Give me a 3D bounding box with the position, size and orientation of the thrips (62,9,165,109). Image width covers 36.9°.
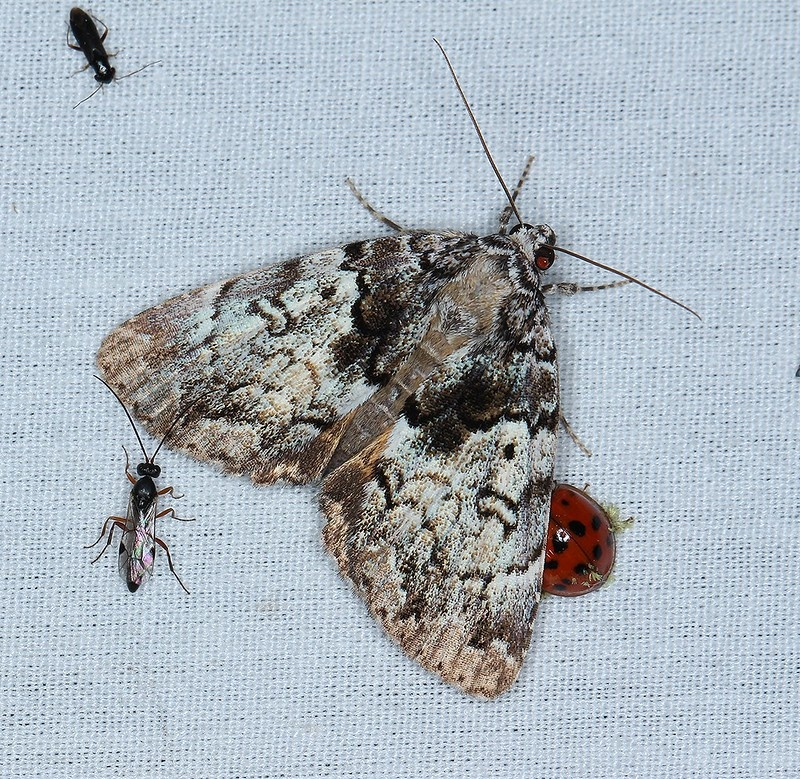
[{"bbox_3d":[-0.688,-0.787,2.832,0.298,0.071,0.218,-10,96,-8],"label":"thrips"}]

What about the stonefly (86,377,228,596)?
[{"bbox_3d":[-0.600,0.261,2.832,0.444,0.140,0.433,4,78,-4],"label":"stonefly"}]
